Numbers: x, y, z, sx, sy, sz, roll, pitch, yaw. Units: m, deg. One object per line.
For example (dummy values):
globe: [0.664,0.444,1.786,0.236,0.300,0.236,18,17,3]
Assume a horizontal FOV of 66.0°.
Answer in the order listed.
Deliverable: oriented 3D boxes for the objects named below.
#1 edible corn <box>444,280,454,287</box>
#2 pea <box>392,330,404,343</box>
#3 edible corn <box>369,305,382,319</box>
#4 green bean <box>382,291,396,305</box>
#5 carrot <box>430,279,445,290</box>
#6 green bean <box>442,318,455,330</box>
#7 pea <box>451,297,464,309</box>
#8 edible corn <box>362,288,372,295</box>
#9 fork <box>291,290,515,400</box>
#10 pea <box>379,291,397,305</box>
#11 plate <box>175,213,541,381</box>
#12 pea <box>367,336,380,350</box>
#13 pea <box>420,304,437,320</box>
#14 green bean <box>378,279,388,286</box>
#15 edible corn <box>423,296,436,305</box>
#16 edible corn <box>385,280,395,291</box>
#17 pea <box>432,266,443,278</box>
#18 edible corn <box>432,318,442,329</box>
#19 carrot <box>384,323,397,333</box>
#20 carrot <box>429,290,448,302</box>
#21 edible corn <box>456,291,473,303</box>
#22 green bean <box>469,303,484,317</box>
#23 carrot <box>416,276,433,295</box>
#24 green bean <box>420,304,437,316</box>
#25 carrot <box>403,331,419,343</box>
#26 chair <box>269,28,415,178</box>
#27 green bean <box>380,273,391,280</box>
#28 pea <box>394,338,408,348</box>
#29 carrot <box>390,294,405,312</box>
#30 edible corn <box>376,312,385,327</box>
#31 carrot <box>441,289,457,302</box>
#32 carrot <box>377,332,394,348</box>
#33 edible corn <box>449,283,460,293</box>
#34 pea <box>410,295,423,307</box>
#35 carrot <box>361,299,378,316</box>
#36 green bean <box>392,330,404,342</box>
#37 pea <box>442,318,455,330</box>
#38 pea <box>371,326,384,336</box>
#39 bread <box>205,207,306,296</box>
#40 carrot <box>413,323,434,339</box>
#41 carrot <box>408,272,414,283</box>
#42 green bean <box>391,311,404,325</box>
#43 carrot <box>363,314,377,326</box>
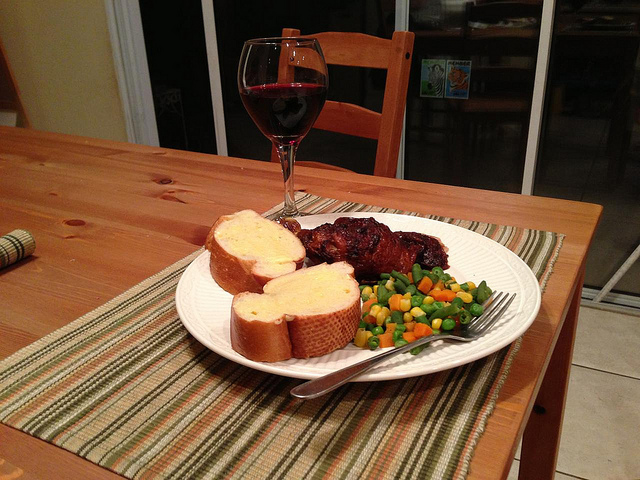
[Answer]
edible corn: [0.181,0.060,0.686,0.007,0.007,0.008,22,13,-5]
pea: [0.095,0.117,0.599,0.014,0.011,0.016,-1,-2,27]
edible corn: [0.070,0.092,0.634,0.013,0.006,0.014,4,33,11]
green bean: [0.095,0.078,0.671,0.015,0.006,0.019,-20,3,30]
carrot: [0.166,0.062,0.687,0.015,0.013,0.014,2,-21,27]
green bean: [0.160,0.102,0.604,0.011,0.009,0.014,-12,2,36]
pea: [0.181,0.081,0.639,0.012,0.007,0.014,3,21,11]
edible corn: [0.067,0.071,0.690,0.010,0.009,0.011,-39,20,-8]
fork: [0.096,0.128,0.584,0.309,0.035,0.035,-16,32,-23]
pea: [0.093,0.078,0.669,0.016,0.007,0.020,-2,18,36]
plate: [0.101,0.091,0.636,0.320,0.027,0.283,-12,23,-25]
pea: [0.065,0.123,0.594,0.017,0.010,0.014,-5,15,-31]
pea: [0.138,0.090,0.629,0.021,0.015,0.017,3,-8,-1]
green bean: [0.091,0.060,0.709,0.009,0.002,0.009,-25,15,-38]
edible corn: [0.144,0.078,0.646,0.011,0.009,0.013,31,30,27]
edible corn: [0.101,0.064,0.699,0.015,0.006,0.012,25,70,15]
pea: [0.171,0.045,0.711,0.013,0.005,0.013,-23,43,-26]
edible corn: [0.146,0.103,0.610,0.013,0.009,0.010,-28,11,-23]
carrot: [0.088,0.108,0.612,0.013,0.003,0.011,6,62,37]
carrot: [0.161,0.074,0.660,0.018,0.006,0.016,-13,26,-22]
edible corn: [0.196,0.075,0.659,0.015,0.006,0.017,-16,30,-28]
green bean: [0.203,0.089,0.630,0.019,0.005,0.015,-7,63,-9]
carrot: [0.146,0.062,0.680,0.022,0.013,0.022,16,64,33]
green bean: [0.140,0.087,0.629,0.014,0.007,0.015,12,-9,2]
carrot: [0.109,0.118,0.601,0.013,0.004,0.012,-14,20,-27]
chair: [0.069,-0.386,1.460,0.264,0.441,0.485,-25,39,-36]
green bean: [0.097,0.052,0.719,0.013,0.009,0.009,4,26,14]
pea: [0.098,0.122,0.588,0.011,0.005,0.011,1,12,8]
carrot: [0.100,0.080,0.645,0.022,0.017,0.021,1,-8,27]
edible corn: [0.078,0.099,0.628,0.013,0.005,0.015,5,39,13]
carrot: [0.176,0.073,0.658,0.017,0.005,0.014,0,39,-22]
carrot: [0.081,0.121,0.596,0.017,0.014,0.023,15,19,42]
edible corn: [0.187,0.065,0.680,0.013,0.008,0.010,-1,15,-12]
pea: [0.127,0.078,0.643,0.015,0.006,0.014,-21,24,-22]
carrot: [0.066,0.090,0.661,0.019,0.011,0.022,-31,-4,-6]
green bean: [0.095,0.115,0.599,0.013,0.010,0.014,5,8,40]
pea: [0.159,0.102,0.604,0.011,0.009,0.014,-12,2,36]
pea: [0.072,0.112,0.611,0.010,0.006,0.011,-3,9,10]
bread: [-0.100,0.012,0.749,0.128,0.049,0.147,-16,50,-28]
carrot: [0.125,0.110,0.599,0.023,0.017,0.019,12,-11,-24]
carrot: [0.133,0.054,0.712,0.009,0.013,0.015,-2,11,-9]
green bean: [0.100,0.099,0.633,0.017,0.005,0.014,-12,62,-24]
carrot: [0.065,0.101,0.630,0.013,0.005,0.013,19,5,-12]
